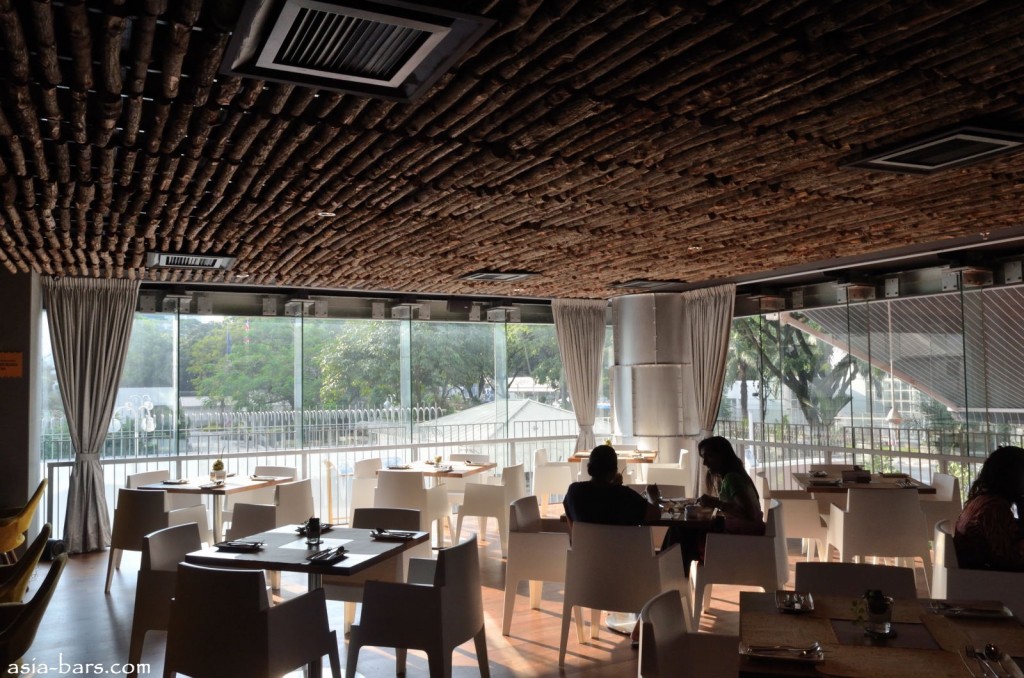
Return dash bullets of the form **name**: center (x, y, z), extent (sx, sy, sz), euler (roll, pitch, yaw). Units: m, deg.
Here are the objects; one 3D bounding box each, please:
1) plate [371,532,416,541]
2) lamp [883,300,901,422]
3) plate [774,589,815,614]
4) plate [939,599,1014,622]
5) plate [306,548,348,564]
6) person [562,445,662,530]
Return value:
- **plate**: center (-0.984, 1.622, 5.550), extent (0.332, 0.041, 0.295), euler (0, -5, -15)
- **lamp**: center (5.402, 0.344, 9.596), extent (0.092, 1.802, 0.230), euler (0, -5, -26)
- **plate**: center (1.671, 1.559, 3.992), extent (0.216, 0.062, 0.295), euler (-3, -5, 23)
- **plate**: center (2.645, 1.560, 3.855), extent (0.380, 0.045, 0.210), euler (-2, -5, 13)
- **plate**: center (-1.361, 1.590, 4.955), extent (0.243, 0.040, 0.382), euler (-1, -5, -2)
- **person**: center (0.862, 1.276, 5.780), extent (0.827, 0.653, 0.730), euler (-1, -4, -2)
